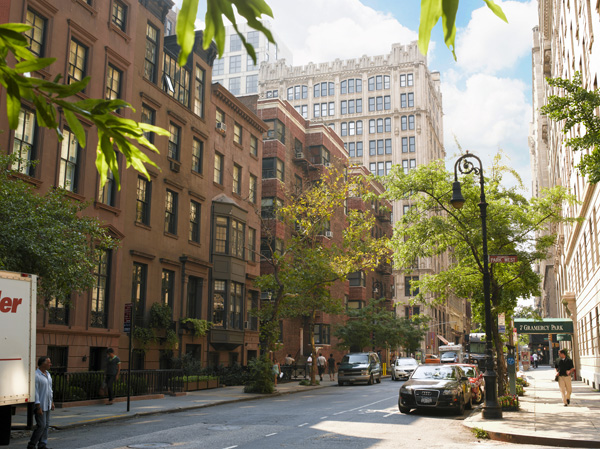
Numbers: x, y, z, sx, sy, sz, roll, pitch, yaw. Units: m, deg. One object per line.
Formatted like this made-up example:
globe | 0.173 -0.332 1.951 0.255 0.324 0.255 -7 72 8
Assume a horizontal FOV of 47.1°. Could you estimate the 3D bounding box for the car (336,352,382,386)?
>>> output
car | 3.780 9.443 45.108 1.956 2.115 3.158 -9 -17 24
